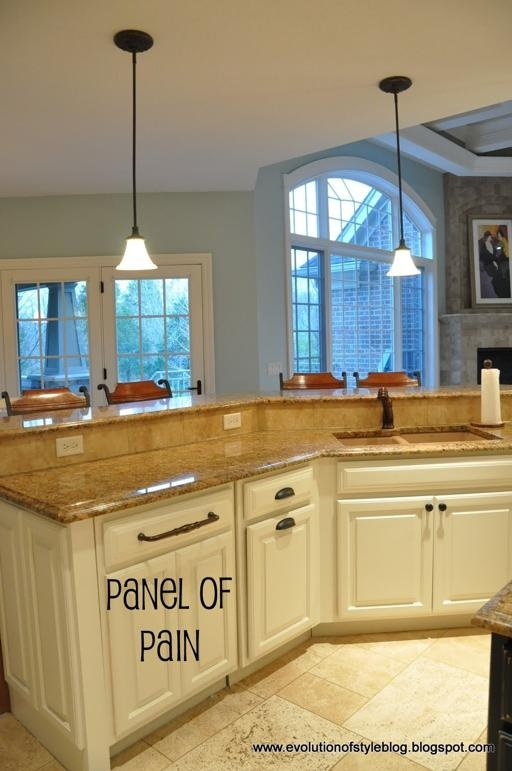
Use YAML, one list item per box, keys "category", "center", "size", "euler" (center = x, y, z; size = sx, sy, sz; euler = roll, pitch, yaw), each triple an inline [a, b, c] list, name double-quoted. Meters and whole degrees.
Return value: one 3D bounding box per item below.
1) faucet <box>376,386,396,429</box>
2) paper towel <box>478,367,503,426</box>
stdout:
- category: "faucet"
  center: [0.617, 0.108, 2.815]
  size: [0.076, 0.196, 0.172]
  euler: [-1, 3, 13]
- category: "paper towel"
  center: [1.096, 0.050, 2.773]
  size: [0.106, 0.263, 0.090]
  euler: [-3, 3, 8]
